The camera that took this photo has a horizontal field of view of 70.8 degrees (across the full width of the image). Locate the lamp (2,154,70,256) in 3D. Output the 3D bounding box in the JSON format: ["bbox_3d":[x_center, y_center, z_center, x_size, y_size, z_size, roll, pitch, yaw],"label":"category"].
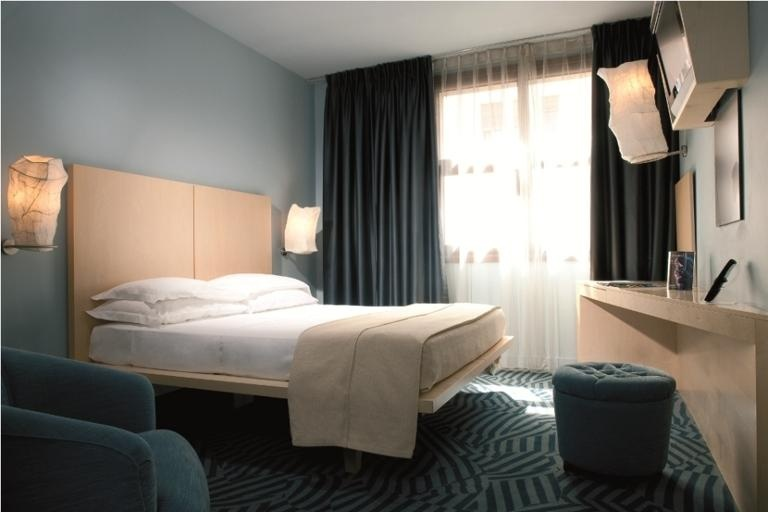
[{"bbox_3d":[-2.322,-0.360,3.627,0.352,0.598,0.154,-8,14,-29],"label":"lamp"}]

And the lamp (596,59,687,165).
[{"bbox_3d":[1.867,-0.988,3.842,0.488,0.723,0.441,-13,-18,28],"label":"lamp"}]

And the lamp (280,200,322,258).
[{"bbox_3d":[-0.853,-0.246,5.689,0.366,0.538,0.438,0,-10,-7],"label":"lamp"}]

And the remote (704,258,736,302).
[{"bbox_3d":[2.127,0.148,3.378,0.052,0.220,0.121,35,-1,20],"label":"remote"}]

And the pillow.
[{"bbox_3d":[-1.417,0.346,4.326,1.650,0.421,0.521,-10,16,-38],"label":"pillow"}]

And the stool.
[{"bbox_3d":[1.439,0.953,3.362,0.632,0.518,0.641,-1,-5,20],"label":"stool"}]
